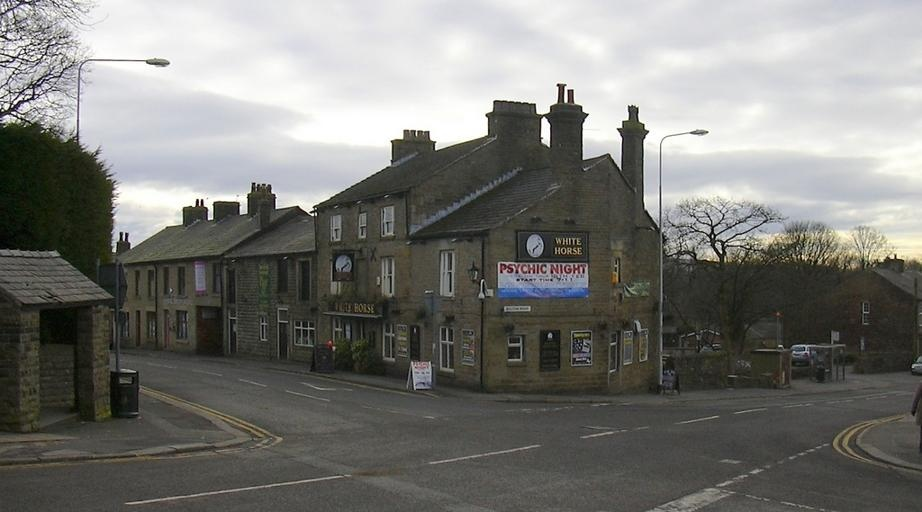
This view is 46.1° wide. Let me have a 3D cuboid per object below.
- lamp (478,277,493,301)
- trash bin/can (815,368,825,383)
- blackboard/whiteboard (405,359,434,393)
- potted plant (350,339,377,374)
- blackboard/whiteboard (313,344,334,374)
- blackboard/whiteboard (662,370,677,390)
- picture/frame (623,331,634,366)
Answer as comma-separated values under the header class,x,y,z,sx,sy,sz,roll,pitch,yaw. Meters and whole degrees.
class,x,y,z,sx,sy,sz,roll,pitch,yaw
lamp,1.506,1.920,64.740,0.872,1.253,0.529,-1,-6,1
trash bin/can,28.407,9.335,85.329,0.652,1.129,1.457,-3,-7,17
blackboard/whiteboard,-2.466,7.276,65.760,1.659,1.703,0.986,-1,-6,-3
potted plant,-6.256,6.767,72.869,2.095,2.701,2.341,-1,-2,-13
blackboard/whiteboard,-9.236,6.886,72.431,1.710,2.014,1.630,2,-6,-15
blackboard/whiteboard,13.600,8.116,70.489,1.019,1.213,1.136,-1,-9,9
picture/frame,10.721,5.938,69.532,0.184,2.344,2.276,-2,-6,27
